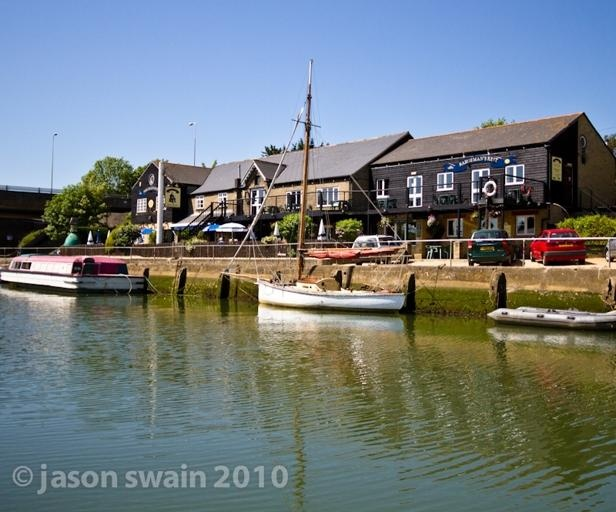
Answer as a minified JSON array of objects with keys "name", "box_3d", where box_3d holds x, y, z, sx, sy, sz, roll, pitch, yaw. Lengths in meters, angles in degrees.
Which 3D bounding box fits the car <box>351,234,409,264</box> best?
[{"name":"car","box_3d":[4.084,-0.446,32.716,2.696,1.445,1.702,-4,-2,45]}]

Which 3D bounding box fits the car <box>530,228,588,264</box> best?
[{"name":"car","box_3d":[11.971,-0.464,28.214,1.656,1.388,3.021,-1,5,3]}]

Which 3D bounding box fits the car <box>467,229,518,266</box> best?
[{"name":"car","box_3d":[9.152,-0.457,28.853,2.031,1.793,2.473,0,1,18]}]

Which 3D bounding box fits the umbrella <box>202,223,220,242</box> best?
[{"name":"umbrella","box_3d":[-9.183,-2.711,55.707,2.065,2.430,2.141,-1,0,-3]}]
